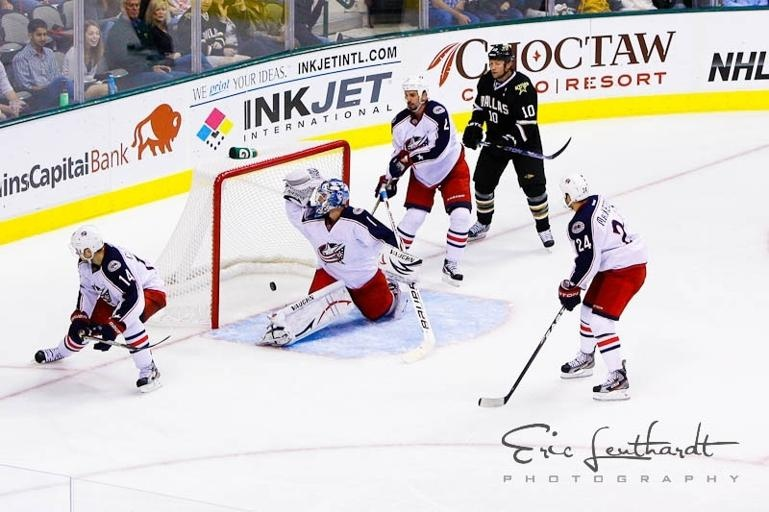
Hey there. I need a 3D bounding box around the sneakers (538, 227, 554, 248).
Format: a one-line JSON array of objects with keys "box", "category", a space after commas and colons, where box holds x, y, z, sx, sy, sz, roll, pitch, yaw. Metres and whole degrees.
[{"box": [1.427, -0.152, 7.728, 0.103, 0.182, 0.079, -24, -11, 13], "category": "sneakers"}]

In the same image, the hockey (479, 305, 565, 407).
[{"box": [0.956, 0.711, 6.075, 0.125, 0.117, 0.852, -21, 23, 53], "category": "hockey"}]

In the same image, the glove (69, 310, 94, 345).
[{"box": [-2.028, 0.475, 5.952, 0.164, 0.198, 0.094, 19, -7, 8], "category": "glove"}]

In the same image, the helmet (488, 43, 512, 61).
[{"box": [0.981, -1.693, 7.376, 0.172, 0.111, 0.250, -1, 22, 14], "category": "helmet"}]

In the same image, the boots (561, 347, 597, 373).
[{"box": [1.346, 0.696, 5.915, 0.281, 0.150, 0.103, -4, 22, -3], "category": "boots"}]

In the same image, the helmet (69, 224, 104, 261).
[{"box": [-1.911, -0.081, 5.670, 0.208, 0.245, 0.135, -12, 23, -10], "category": "helmet"}]

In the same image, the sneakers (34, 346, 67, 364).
[{"box": [-2.331, 0.694, 6.191, 0.200, 0.060, 0.132, 4, -27, -44], "category": "sneakers"}]

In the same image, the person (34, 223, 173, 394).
[{"box": [-2.005, 0.421, 6.281, 1.003, 0.851, 0.690, 19, 25, 35], "category": "person"}]

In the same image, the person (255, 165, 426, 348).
[{"box": [-0.363, -0.175, 6.655, 1.179, 1.182, 1.376, 18, 35, 27], "category": "person"}]

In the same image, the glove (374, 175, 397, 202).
[{"box": [0.034, -0.530, 7.174, 0.097, 0.195, 0.202, 20, 4, -45], "category": "glove"}]

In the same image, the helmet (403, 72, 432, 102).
[{"box": [0.261, -1.321, 6.941, 0.151, 0.176, 0.210, 0, 23, 18], "category": "helmet"}]

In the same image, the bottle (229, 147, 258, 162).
[{"box": [-1.117, -0.831, 7.032, 0.203, 0.130, 0.295, -8, 21, -4], "category": "bottle"}]

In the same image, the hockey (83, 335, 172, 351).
[{"box": [-1.770, 0.594, 6.041, 0.558, 0.069, 0.085, 7, 29, -13], "category": "hockey"}]

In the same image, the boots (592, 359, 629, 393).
[{"box": [1.430, 0.776, 5.598, 0.282, 0.219, 0.106, -3, 2, -17], "category": "boots"}]

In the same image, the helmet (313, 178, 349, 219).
[{"box": [-0.345, -0.394, 6.188, 0.287, 0.217, 0.248, -5, 53, 16], "category": "helmet"}]
